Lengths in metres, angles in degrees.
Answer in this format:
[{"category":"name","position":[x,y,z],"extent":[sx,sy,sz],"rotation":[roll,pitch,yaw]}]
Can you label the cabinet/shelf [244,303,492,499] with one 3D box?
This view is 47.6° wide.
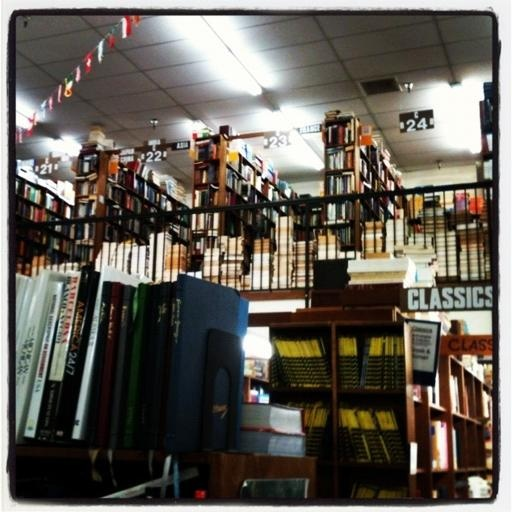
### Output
[{"category":"cabinet/shelf","position":[0.708,0.749,2.957],"extent":[1.117,1.200,0.385],"rotation":[0,14,23]}]
